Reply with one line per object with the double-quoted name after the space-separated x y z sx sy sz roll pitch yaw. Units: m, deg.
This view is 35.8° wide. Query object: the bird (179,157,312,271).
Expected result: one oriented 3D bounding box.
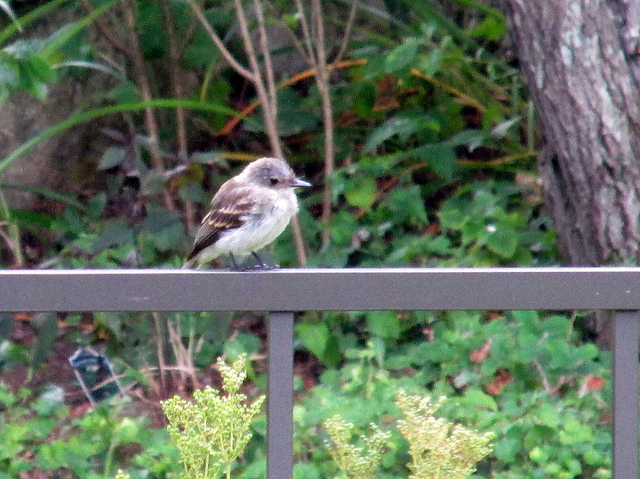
-0.378 -0.071 4.388 0.768 0.574 0.339 3 3 35 "bird"
